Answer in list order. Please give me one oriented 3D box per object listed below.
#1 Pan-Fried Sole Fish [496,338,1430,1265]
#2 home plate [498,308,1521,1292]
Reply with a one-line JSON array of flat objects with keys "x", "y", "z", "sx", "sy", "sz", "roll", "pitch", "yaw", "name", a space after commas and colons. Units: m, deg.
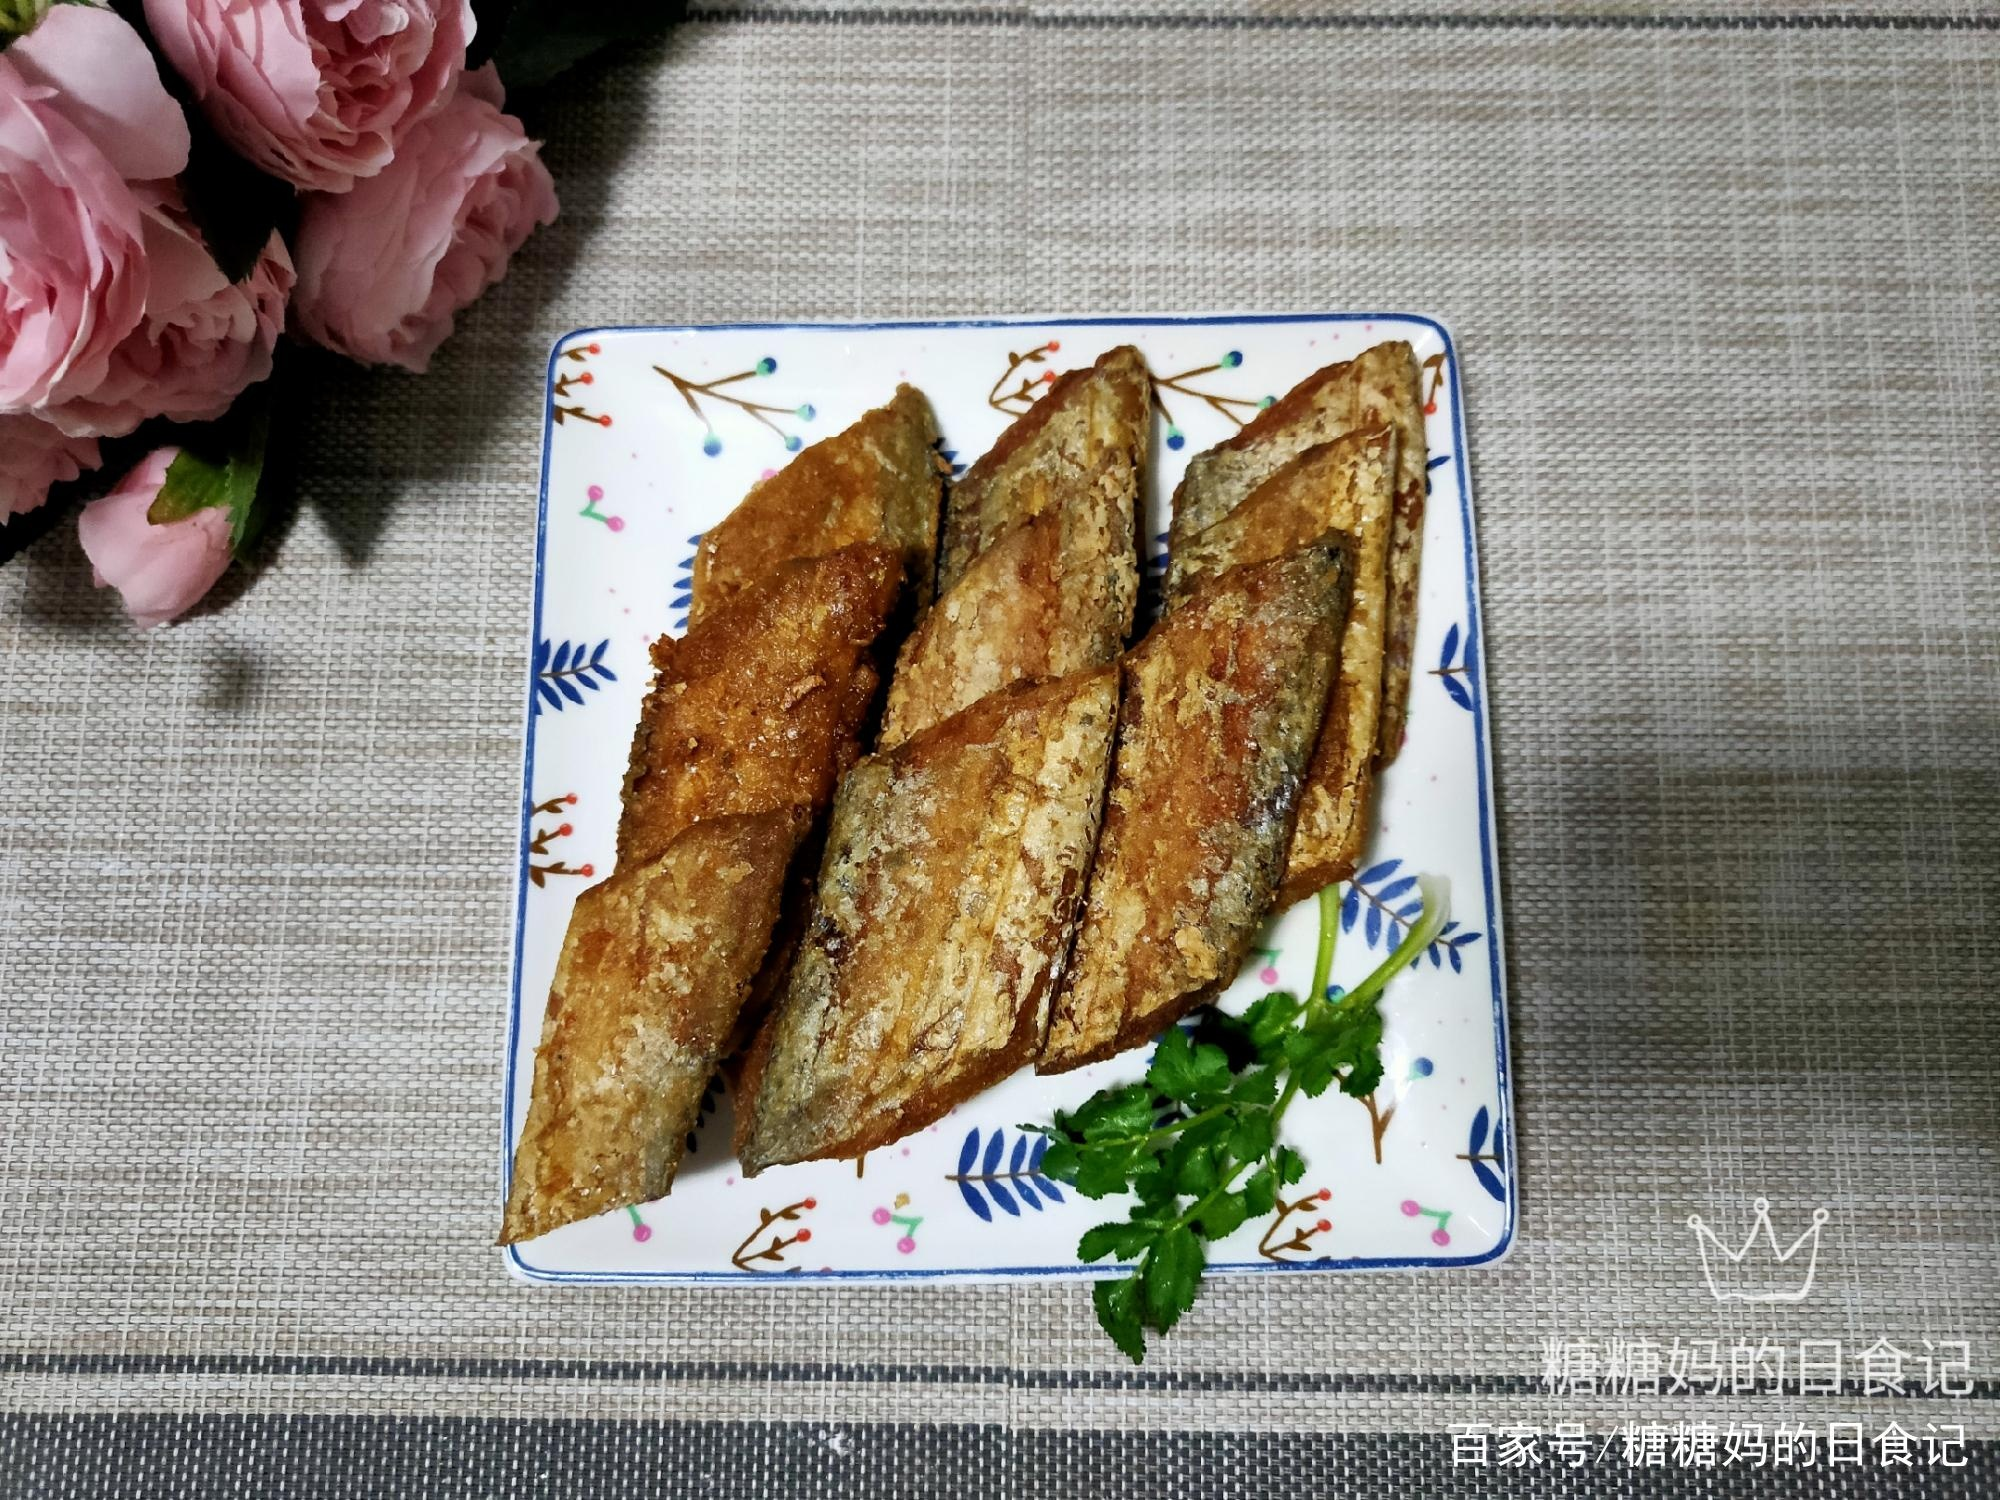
[{"x": -0.019, "y": 0.031, "z": 2.013, "sx": 0.744, "sy": 0.708, "sz": 0.165, "roll": -3, "pitch": -7, "yaw": 0, "name": "Pan-Fried Sole Fish"}, {"x": 0.016, "y": 0.003, "z": 2.321, "sx": 0.777, "sy": 0.781, "sz": 0.816, "roll": -3, "pitch": 35, "yaw": 1, "name": "home plate"}]
